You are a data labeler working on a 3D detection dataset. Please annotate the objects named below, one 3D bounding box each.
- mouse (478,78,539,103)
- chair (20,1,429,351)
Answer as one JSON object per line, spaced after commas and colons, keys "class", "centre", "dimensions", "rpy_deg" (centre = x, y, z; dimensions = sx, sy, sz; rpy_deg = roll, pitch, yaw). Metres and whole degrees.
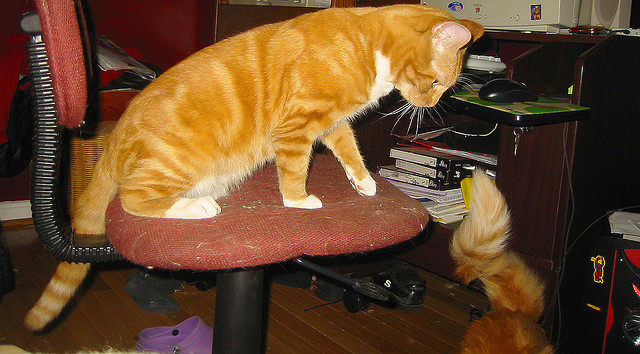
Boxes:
{"class": "mouse", "centre": [0.711, -0.322, 1.681], "dimensions": [0.223, 0.072, 0.105], "rpy_deg": [-4, 21, -10]}
{"class": "chair", "centre": [-0.319, 0.158, 1.456], "dimensions": [1.228, 1.350, 0.596], "rpy_deg": [4, 23, 11]}
